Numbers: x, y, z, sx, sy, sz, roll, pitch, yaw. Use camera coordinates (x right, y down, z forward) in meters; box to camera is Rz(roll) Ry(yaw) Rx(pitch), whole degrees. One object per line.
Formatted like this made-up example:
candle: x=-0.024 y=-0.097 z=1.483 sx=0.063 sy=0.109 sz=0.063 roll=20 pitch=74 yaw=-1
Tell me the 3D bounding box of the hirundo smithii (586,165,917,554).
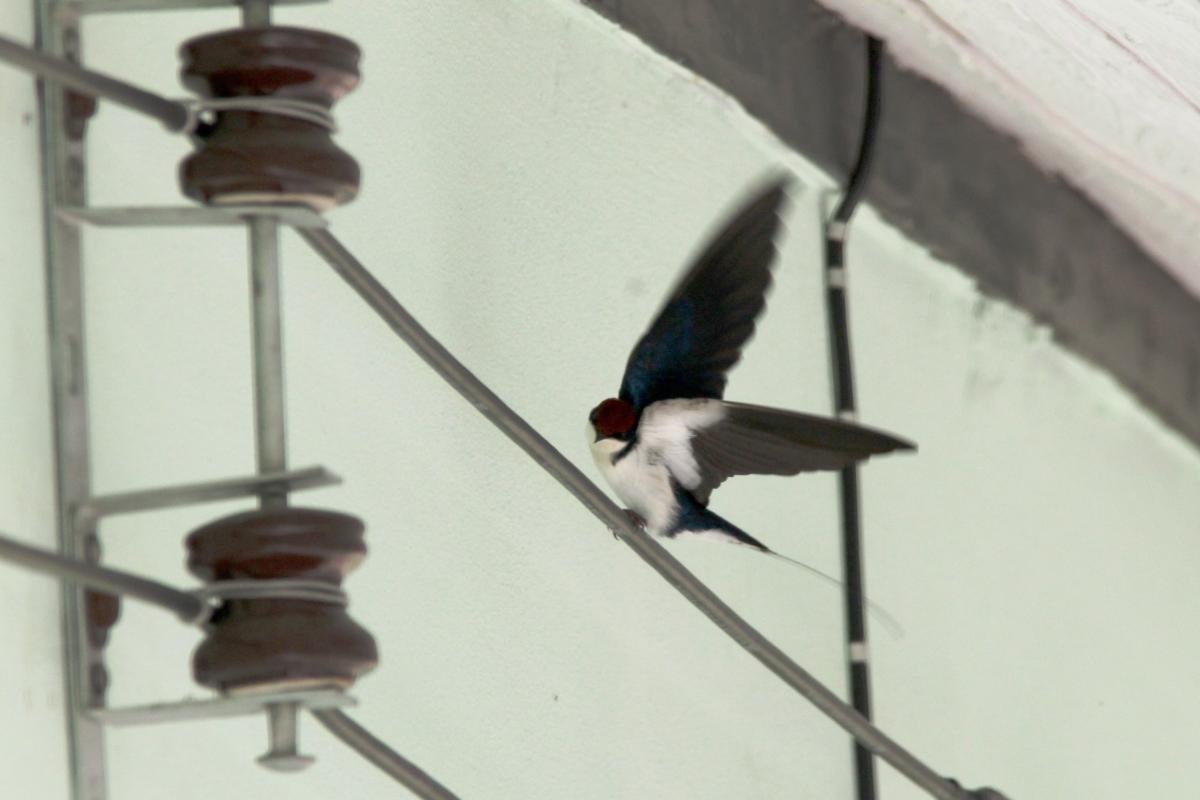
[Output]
hirundo smithii: x=0.079 y=0.006 z=2.211 sx=0.152 sy=0.249 sz=0.241 roll=7 pitch=-54 yaw=-17
